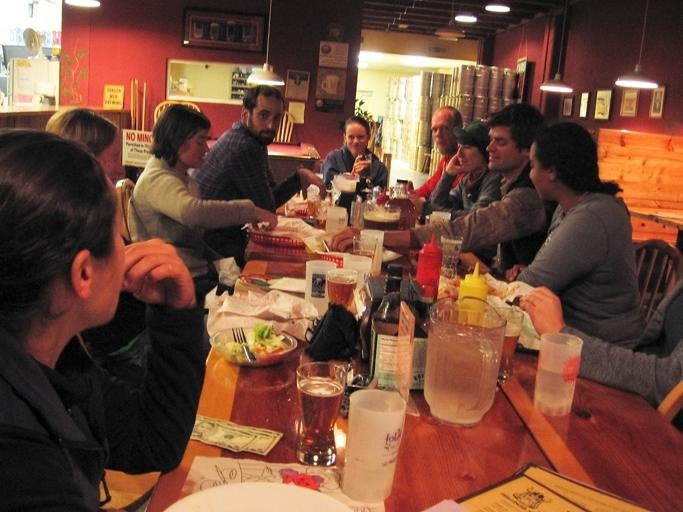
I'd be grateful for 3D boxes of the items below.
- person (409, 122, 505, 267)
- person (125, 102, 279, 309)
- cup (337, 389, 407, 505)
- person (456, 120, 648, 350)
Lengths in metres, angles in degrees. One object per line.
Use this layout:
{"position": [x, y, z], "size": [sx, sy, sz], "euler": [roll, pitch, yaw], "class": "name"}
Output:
{"position": [0.886, -0.205, 3.865], "size": [0.456, 1.422, 0.636], "euler": [-6, 12, -41], "class": "person"}
{"position": [-0.809, -0.164, 3.080], "size": [0.769, 1.341, 0.603], "euler": [4, 18, -11], "class": "person"}
{"position": [0.062, 0.339, 0.983], "size": [0.123, 0.188, 0.097], "euler": [1, 11, -12], "class": "cup"}
{"position": [0.969, -0.135, 2.591], "size": [0.790, 1.320, 0.696], "euler": [2, 4, 27], "class": "person"}
